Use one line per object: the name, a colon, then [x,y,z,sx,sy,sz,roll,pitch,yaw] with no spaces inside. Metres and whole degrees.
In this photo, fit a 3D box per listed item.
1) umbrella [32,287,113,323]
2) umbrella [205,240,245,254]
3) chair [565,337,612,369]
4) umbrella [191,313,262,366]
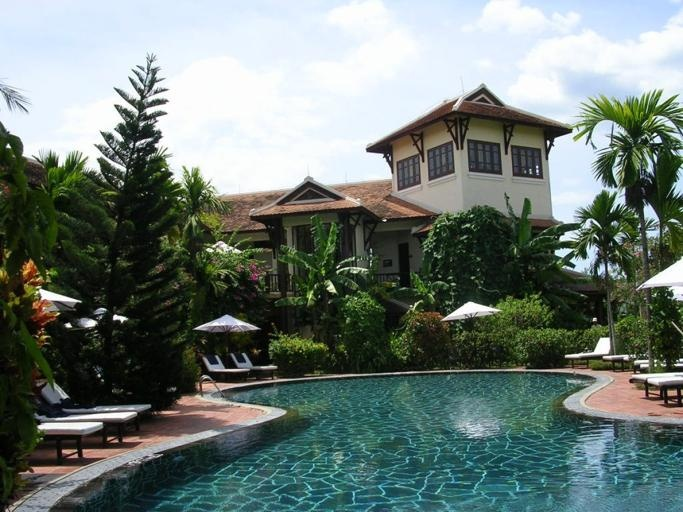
umbrella: [-5.989,1.093,12.701,1.207,0.711,2.828,-1,-5,-9]
umbrella: [-5.660,-0.413,27.233,1.419,0.813,2.354,-1,-5,-9]
chair: [9.049,3.470,20.600,2.125,1.076,1.053,4,-8,-33]
umbrella: [-4.863,3.422,23.464,2.795,1.289,2.986,-13,-14,42]
